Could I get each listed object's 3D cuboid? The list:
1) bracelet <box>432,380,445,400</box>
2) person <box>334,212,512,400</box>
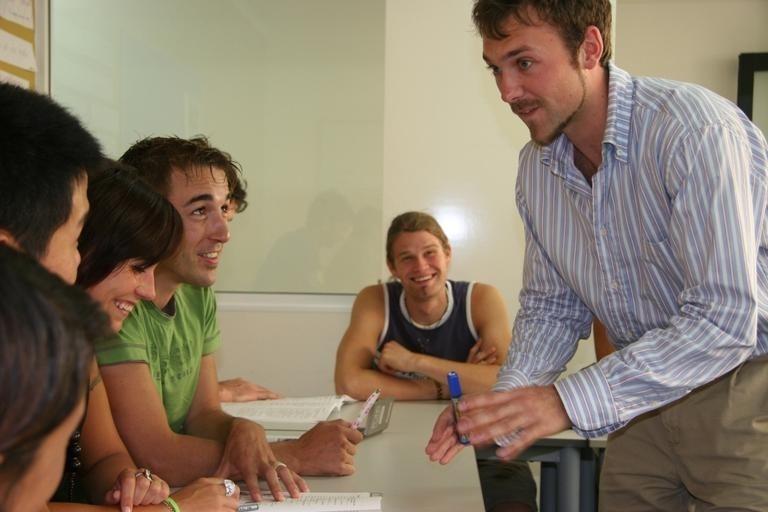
[{"bbox_3d":[0.219,0.539,2.587,0.056,0.061,0.057,-7,0,30],"label":"bracelet"},{"bbox_3d":[0.128,0.125,3.016,0.960,0.980,0.647,-1,-14,3],"label":"person"}]
